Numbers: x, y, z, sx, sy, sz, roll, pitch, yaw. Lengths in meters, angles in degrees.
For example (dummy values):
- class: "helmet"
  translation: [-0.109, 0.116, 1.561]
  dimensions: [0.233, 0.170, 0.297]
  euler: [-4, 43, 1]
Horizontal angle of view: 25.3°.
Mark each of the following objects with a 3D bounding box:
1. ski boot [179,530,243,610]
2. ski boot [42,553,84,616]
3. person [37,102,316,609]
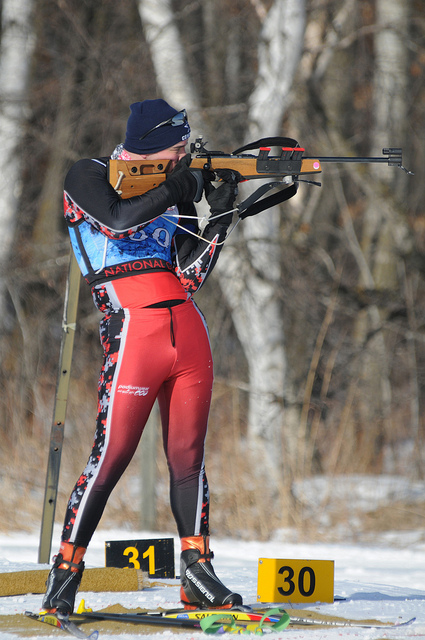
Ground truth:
- class: "ski boot"
  translation: [-0.010, 1.023, 3.386]
  dimensions: [0.120, 0.313, 0.331]
  euler: [1, -9, -36]
- class: "ski boot"
  translation: [-0.496, 0.998, 3.157]
  dimensions: [0.117, 0.141, 0.168]
  euler: [6, -4, -6]
- class: "person"
  translation: [-0.197, 0.173, 3.443]
  dimensions: [0.827, 2.057, 0.482]
  euler: [7, -4, -10]
